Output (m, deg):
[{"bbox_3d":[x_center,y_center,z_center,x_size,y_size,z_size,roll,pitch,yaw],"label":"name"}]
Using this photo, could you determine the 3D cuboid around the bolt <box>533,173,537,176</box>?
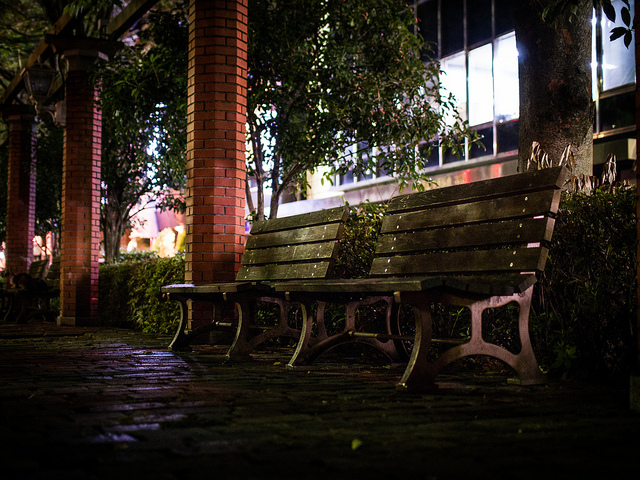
[{"bbox_3d":[1.606,-0.491,4.894,0.015,0.017,0.031,0,0,-6],"label":"bolt"}]

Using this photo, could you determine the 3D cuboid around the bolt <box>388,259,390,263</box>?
[{"bbox_3d":[0.613,0.184,5.823,0.005,0.024,0.015,25,-22,-36],"label":"bolt"}]

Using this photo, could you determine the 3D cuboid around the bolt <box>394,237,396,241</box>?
[{"bbox_3d":[0.674,-0.010,5.871,0.008,0.027,0.015,18,-17,-32],"label":"bolt"}]

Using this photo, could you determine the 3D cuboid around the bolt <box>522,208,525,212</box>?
[{"bbox_3d":[1.504,-0.222,4.835,0.004,0.020,0.019,20,-1,-39],"label":"bolt"}]

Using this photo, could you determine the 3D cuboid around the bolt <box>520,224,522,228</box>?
[{"bbox_3d":[1.474,-0.107,4.806,0.005,0.023,0.023,15,13,-37],"label":"bolt"}]

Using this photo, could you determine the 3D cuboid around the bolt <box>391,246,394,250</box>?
[{"bbox_3d":[0.650,0.070,5.853,0.010,0.014,0.022,14,-19,-33],"label":"bolt"}]

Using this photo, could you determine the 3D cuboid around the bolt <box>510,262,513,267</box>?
[{"bbox_3d":[1.397,0.180,4.788,0.007,0.027,0.025,18,-16,-38],"label":"bolt"}]

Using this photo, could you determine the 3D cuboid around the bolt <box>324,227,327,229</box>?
[{"bbox_3d":[0.059,-0.122,6.464,0.007,0.021,0.031,5,-2,-27],"label":"bolt"}]

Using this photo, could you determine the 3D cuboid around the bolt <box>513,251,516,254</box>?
[{"bbox_3d":[1.427,0.090,4.808,0.010,0.015,0.022,4,-9,-27],"label":"bolt"}]

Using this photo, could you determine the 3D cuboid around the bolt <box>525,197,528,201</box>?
[{"bbox_3d":[1.527,-0.305,4.852,0.010,0.015,0.023,3,-7,-29],"label":"bolt"}]

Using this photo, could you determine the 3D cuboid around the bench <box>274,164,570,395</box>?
[{"bbox_3d":[0.692,0.322,5.556,1.403,1.624,2.570,1,-4,-25],"label":"bench"}]
